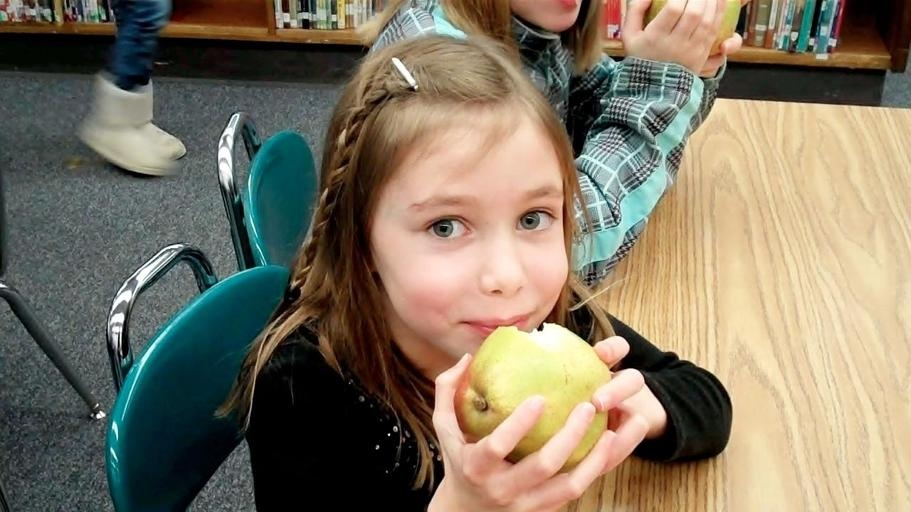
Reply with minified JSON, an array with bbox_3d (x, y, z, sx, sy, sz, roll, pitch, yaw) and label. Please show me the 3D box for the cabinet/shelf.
[{"bbox_3d":[-0.880,-1.446,4.854,5.044,0.768,1.179,3,3,5],"label":"cabinet/shelf"}]
